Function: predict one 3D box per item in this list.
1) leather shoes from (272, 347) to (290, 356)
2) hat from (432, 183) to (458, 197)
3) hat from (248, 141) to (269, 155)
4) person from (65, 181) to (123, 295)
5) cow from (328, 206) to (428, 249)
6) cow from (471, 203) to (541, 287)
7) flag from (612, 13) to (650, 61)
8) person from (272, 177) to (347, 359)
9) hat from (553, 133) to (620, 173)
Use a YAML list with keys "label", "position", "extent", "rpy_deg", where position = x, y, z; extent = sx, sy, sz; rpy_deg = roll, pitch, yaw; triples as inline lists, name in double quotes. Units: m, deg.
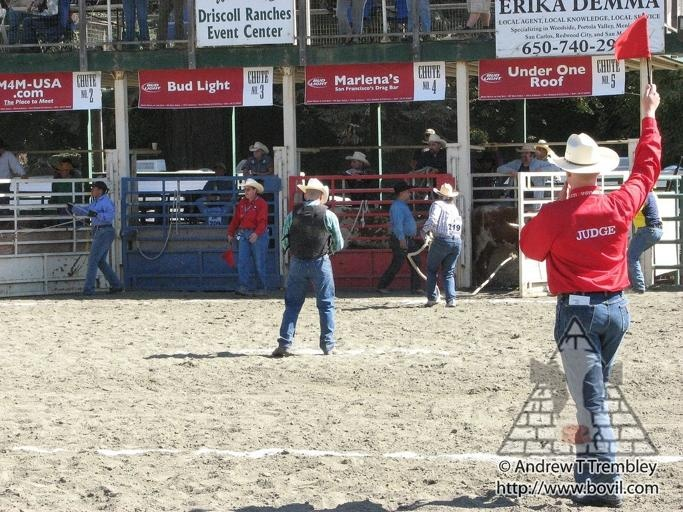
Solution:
- label: "leather shoes"
  position: [-0.911, 1.460, 22.599]
  extent: [0.229, 0.158, 0.124]
  rpy_deg: [5, -2, -1]
- label: "hat"
  position: [1.763, -1.110, 25.740]
  extent: [0.302, 0.123, 0.353]
  rpy_deg: [0, 4, -30]
- label: "hat"
  position: [-1.586, -2.172, 29.271]
  extent: [0.295, 0.167, 0.389]
  rpy_deg: [-3, -13, 28]
- label: "person"
  position: [-4.637, -0.347, 28.257]
  extent: [0.851, 2.205, 1.045]
  rpy_deg: [-3, 15, -10]
- label: "cow"
  position: [0.864, -0.568, 28.222]
  extent: [2.050, 0.678, 0.626]
  rpy_deg: [0, 7, -15]
- label: "cow"
  position: [2.903, -0.291, 28.212]
  extent: [0.482, 1.427, 1.797]
  rpy_deg: [9, 1, -23]
- label: "flag"
  position: [3.648, -2.748, 18.831]
  extent: [0.491, 0.615, 0.101]
  rpy_deg: [-6, -28, 6]
- label: "person"
  position: [-0.516, 0.185, 22.640]
  extent: [1.121, 2.659, 0.790]
  rpy_deg: [-6, 16, -20]
- label: "hat"
  position: [2.926, -1.319, 18.536]
  extent: [0.813, 0.341, 0.907]
  rpy_deg: [5, 5, 15]
